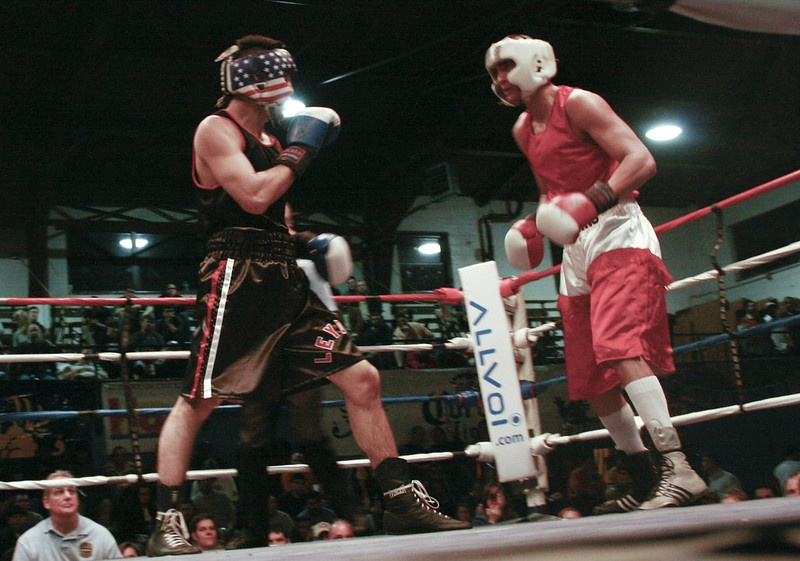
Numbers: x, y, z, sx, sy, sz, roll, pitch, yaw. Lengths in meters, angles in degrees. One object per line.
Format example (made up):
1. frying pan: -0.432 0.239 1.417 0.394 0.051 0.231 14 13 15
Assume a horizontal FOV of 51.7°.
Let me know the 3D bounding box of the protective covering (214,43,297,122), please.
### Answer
1. protective covering: -0.834 -1.181 4.812 0.705 0.348 0.399 -3 5 -6

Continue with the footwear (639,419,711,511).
1. footwear: 1.448 1.015 4.593 0.388 0.478 0.246 -4 -18 -16

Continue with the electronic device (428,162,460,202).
1. electronic device: 0.581 -1.402 11.687 0.597 0.493 0.183 -14 -9 18

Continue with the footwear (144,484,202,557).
1. footwear: -1.271 1.314 4.582 0.174 0.384 0.319 2 -18 -34

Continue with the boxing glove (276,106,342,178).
1. boxing glove: -0.562 -0.767 4.756 0.457 0.389 0.199 11 -26 -8

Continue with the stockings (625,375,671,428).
1. stockings: 1.391 0.683 4.643 0.193 0.288 0.181 -12 -16 9

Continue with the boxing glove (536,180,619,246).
1. boxing glove: 0.966 -0.383 4.662 0.570 0.325 0.155 -25 -42 -38
